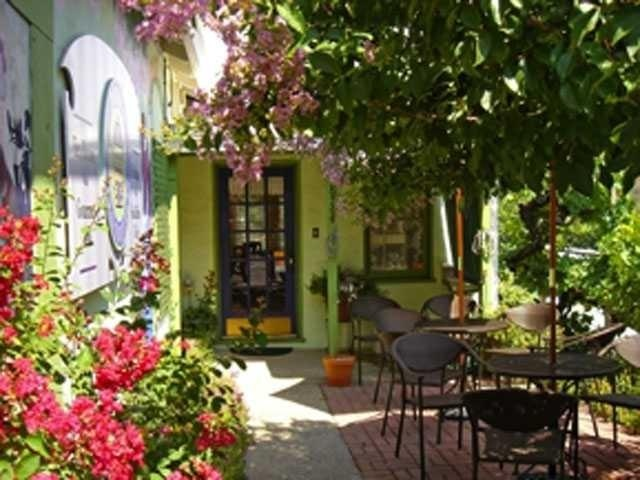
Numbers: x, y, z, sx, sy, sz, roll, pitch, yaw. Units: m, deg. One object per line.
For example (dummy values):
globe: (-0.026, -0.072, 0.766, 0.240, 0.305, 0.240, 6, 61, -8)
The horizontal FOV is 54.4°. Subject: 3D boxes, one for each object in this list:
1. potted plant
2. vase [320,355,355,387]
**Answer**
potted plant: (0.335, 0.751, 9.263, 0.862, 0.894, 0.719, 1, -11, -5)
vase: (0.226, 1.538, 7.359, 0.321, 0.282, 0.351, 1, -7, -6)
